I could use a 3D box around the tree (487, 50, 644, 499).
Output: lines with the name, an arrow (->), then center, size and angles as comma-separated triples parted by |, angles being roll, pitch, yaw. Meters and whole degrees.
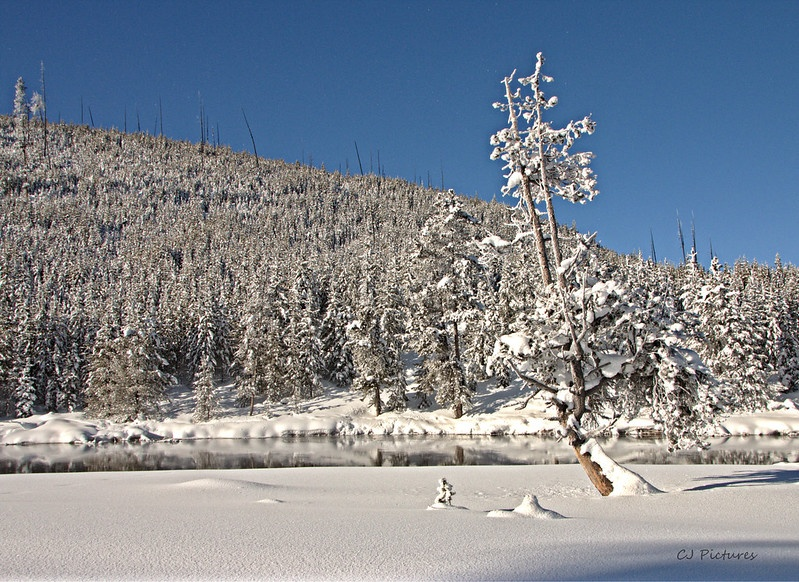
tree -> 12.023, -0.966, 62.476 | 9.638, 31.914, 5.005 | 6, 13, 30
